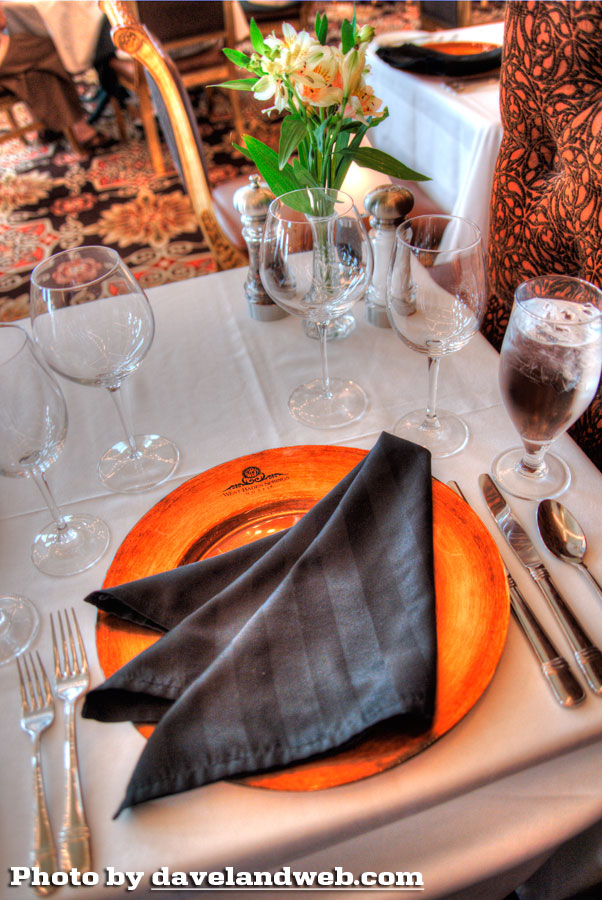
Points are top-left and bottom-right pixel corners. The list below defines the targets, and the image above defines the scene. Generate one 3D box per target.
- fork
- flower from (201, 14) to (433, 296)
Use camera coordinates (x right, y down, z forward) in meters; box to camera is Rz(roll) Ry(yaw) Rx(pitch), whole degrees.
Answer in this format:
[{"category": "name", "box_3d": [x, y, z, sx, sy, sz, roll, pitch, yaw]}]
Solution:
[{"category": "fork", "box_3d": [-0.150, 0.185, 0.456, 0.045, 0.025, 0.186, -24, 44, 8]}, {"category": "flower", "box_3d": [0.002, -0.336, 0.767, 0.247, 0.240, 0.232, -12, 62, -4]}]
